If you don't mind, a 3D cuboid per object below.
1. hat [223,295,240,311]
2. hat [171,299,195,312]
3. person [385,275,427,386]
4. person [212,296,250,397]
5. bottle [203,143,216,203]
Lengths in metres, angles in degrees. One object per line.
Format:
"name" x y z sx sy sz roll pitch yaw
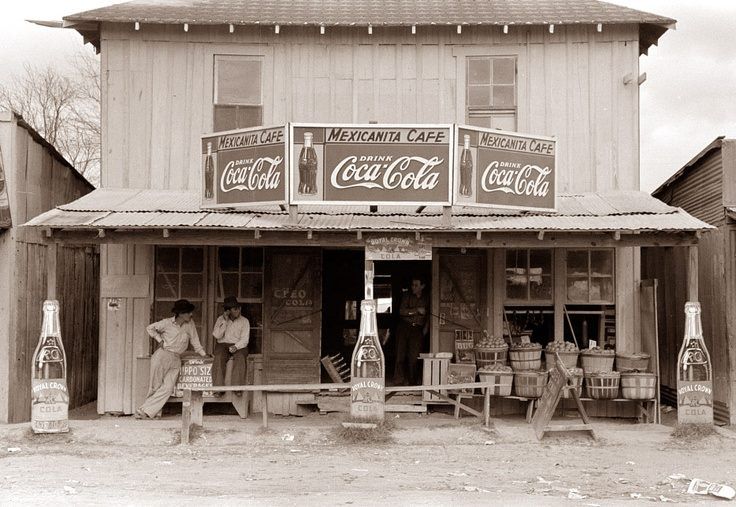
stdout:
"hat" -2.962 1.101 25.612 0.335 0.176 0.295 -18 0 14
"hat" -4.011 1.154 25.343 0.359 0.129 0.307 -4 13 14
"person" 1.049 1.799 26.863 0.739 2.480 1.359 1 -5 0
"person" -2.945 2.036 25.496 0.756 2.132 0.329 2 -6 -8
"bottle" -3.344 -1.765 24.953 0.288 1.272 0.062 -2 -6 25
